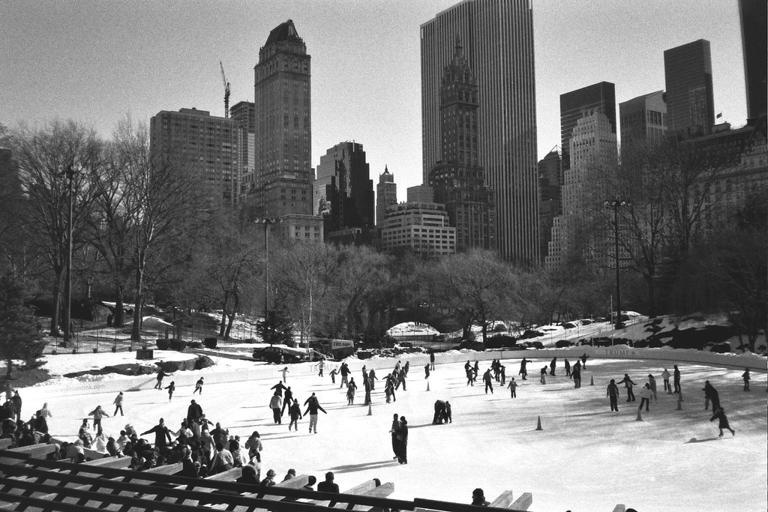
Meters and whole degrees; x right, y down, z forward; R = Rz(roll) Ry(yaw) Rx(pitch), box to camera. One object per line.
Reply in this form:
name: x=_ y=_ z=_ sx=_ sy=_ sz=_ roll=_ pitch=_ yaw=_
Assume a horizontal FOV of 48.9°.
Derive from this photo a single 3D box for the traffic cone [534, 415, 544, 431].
traffic cone: x=9.815 y=10.381 z=52.579 sx=0.669 sy=1.019 sz=0.684 roll=1 pitch=-6 yaw=-18
